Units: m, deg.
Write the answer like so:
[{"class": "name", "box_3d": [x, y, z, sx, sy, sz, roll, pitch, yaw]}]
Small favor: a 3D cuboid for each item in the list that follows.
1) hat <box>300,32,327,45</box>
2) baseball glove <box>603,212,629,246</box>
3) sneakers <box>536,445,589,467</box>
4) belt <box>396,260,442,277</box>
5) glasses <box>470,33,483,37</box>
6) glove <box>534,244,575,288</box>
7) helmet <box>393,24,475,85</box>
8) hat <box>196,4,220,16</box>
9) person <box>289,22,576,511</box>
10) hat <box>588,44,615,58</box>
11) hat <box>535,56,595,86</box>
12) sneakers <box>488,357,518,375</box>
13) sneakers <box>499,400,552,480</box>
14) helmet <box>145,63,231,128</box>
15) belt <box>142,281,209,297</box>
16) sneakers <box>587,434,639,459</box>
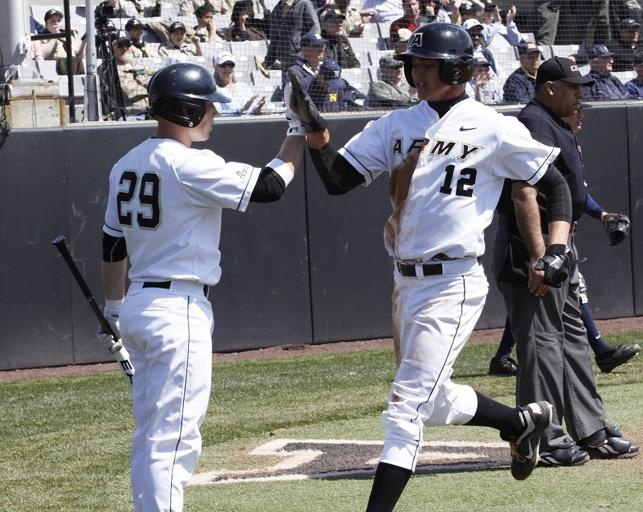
[{"class": "hat", "box_3d": [-0.092, -2.008, 10.771, 0.175, 0.092, 0.122, 3, 10, 20]}, {"class": "baseball glove", "box_3d": [2.088, -0.212, 8.288, 0.184, 0.225, 0.234, 2, 41, -1]}, {"class": "sneakers", "box_3d": [1.498, 1.248, 7.334, 0.333, 0.154, 0.125, -3, 4, -2]}, {"class": "belt", "box_3d": [0.542, 0.073, 6.565, 0.275, 0.084, 0.051, 3, 6, 30]}, {"class": "glasses", "box_3d": [1.573, -2.253, 11.851, 0.086, 0.046, 0.022, 3, -10, 4]}, {"class": "glove", "box_3d": [1.343, 0.057, 6.747, 0.182, 0.245, 0.115, 10, -4, 33]}, {"class": "helmet", "box_3d": [0.681, -1.171, 6.772, 0.429, 0.331, 0.339, -5, 16, -19]}, {"class": "hat", "box_3d": [-1.200, -2.527, 11.968, 0.159, 0.054, 0.148, -5, 25, -9]}, {"class": "person", "box_3d": [0.674, 0.000, 6.782, 1.481, 2.699, 0.796, -2, 6, -25]}, {"class": "hat", "box_3d": [2.805, -2.066, 11.756, 0.184, 0.093, 0.117, 0, 14, 15]}, {"class": "hat", "box_3d": [1.547, -1.182, 7.501, 0.293, 0.164, 0.192, -2, 8, 14]}, {"class": "sneakers", "box_3d": [1.409, 0.863, 9.135, 0.292, 0.119, 0.150, -2, 1, 18]}, {"class": "sneakers", "box_3d": [1.173, 1.098, 6.913, 0.225, 0.480, 0.175, 13, 9, -17]}, {"class": "helmet", "box_3d": [-0.739, -0.929, 6.688, 0.481, 0.345, 0.426, -2, 15, -37]}, {"class": "belt", "box_3d": [-0.820, 0.165, 6.419, 0.330, 0.072, 0.066, -1, 5, -9]}, {"class": "sneakers", "box_3d": [1.829, 1.207, 7.408, 0.352, 0.157, 0.132, -3, 5, -7]}]
